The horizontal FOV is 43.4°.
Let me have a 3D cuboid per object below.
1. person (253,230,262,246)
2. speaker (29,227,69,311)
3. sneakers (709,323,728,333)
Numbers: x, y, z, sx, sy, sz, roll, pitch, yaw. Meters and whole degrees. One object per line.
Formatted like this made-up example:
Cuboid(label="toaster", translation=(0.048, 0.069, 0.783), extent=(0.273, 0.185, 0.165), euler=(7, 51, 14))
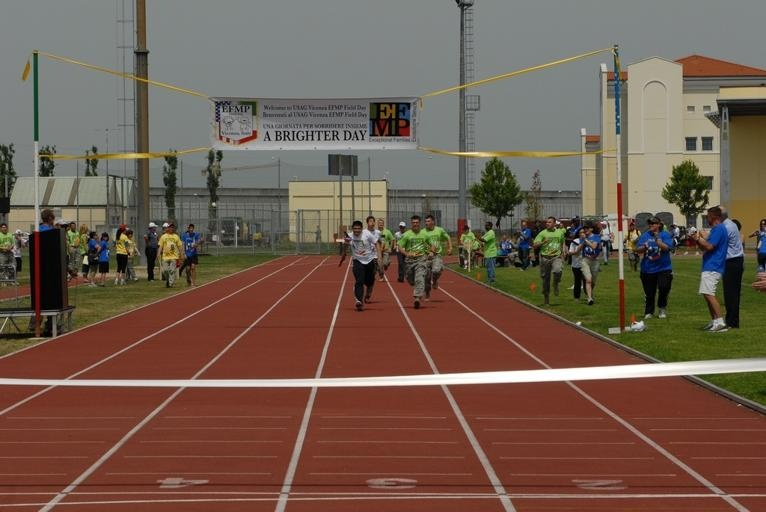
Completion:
Cuboid(label="person", translation=(-8.622, -1.182, 66.665), extent=(0.841, 0.927, 0.697), euler=(2, -2, -14))
Cuboid(label="speaker", translation=(-6.720, 0.267, 19.427), extent=(0.676, 1.629, 0.503), euler=(0, 3, -21))
Cuboid(label="sneakers", translation=(6.462, 1.423, 18.618), extent=(0.365, 0.171, 0.133), euler=(0, -2, -7))
